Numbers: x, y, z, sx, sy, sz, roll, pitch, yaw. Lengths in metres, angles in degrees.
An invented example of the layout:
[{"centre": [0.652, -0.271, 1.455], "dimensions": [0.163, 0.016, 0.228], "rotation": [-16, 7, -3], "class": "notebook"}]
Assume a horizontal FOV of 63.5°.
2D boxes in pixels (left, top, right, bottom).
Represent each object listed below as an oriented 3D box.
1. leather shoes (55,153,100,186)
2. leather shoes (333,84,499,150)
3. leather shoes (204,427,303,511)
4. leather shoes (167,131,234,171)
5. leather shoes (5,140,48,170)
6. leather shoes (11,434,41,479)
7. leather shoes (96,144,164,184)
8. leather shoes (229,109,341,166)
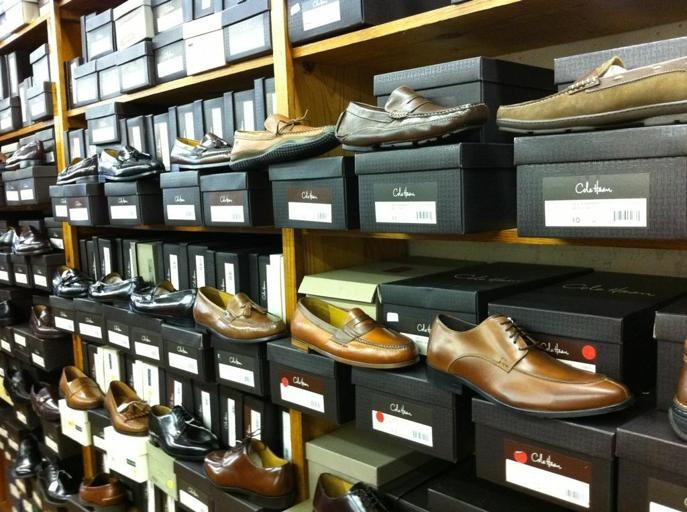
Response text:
[{"centre": [-0.932, -0.303, 1.954], "dimensions": [0.208, 0.074, 0.084], "rotation": [-4, 10, 44], "class": "leather shoes"}, {"centre": [0.133, -0.262, 1.114], "dimensions": [0.312, 0.098, 0.111], "rotation": [-1, 9, 30], "class": "leather shoes"}, {"centre": [-0.241, 0.582, 1.530], "dimensions": [0.302, 0.120, 0.141], "rotation": [13, 14, 31], "class": "leather shoes"}, {"centre": [-0.401, -0.284, 1.557], "dimensions": [0.237, 0.083, 0.091], "rotation": [-2, 0, 38], "class": "leather shoes"}, {"centre": [-1.358, -0.421, 2.341], "dimensions": [0.232, 0.087, 0.092], "rotation": [1, 8, 38], "class": "leather shoes"}, {"centre": [-1.432, 0.883, 2.479], "dimensions": [0.104, 0.105, 0.265], "rotation": [-3, 9, -21], "class": "leather shoes"}, {"centre": [-0.701, -0.297, 1.797], "dimensions": [0.263, 0.097, 0.111], "rotation": [1, 7, 31], "class": "leather shoes"}, {"centre": [-0.153, -0.268, 1.325], "dimensions": [0.292, 0.095, 0.109], "rotation": [-4, 4, 30], "class": "leather shoes"}]
